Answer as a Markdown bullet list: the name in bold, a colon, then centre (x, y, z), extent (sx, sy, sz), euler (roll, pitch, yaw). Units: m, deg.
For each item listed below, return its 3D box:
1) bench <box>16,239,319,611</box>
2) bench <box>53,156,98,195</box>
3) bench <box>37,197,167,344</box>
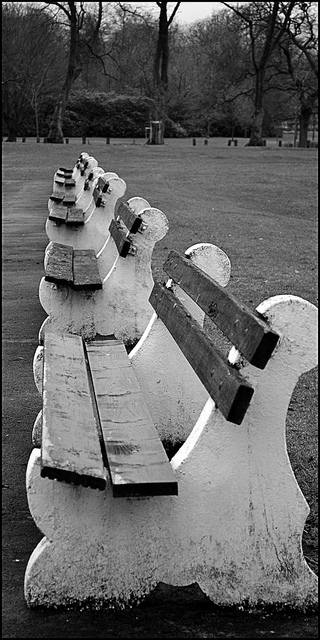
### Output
- **bench**: centre (-0.002, 0.443, 2.240), extent (0.829, 0.987, 1.514), euler (1, 8, -4)
- **bench**: centre (-1.867, -3.136, 11.325), extent (0.907, 0.904, 1.750), euler (0, 18, -5)
- **bench**: centre (-0.603, -0.590, 4.865), extent (0.955, 1.286, 1.713), euler (-2, 18, -11)
